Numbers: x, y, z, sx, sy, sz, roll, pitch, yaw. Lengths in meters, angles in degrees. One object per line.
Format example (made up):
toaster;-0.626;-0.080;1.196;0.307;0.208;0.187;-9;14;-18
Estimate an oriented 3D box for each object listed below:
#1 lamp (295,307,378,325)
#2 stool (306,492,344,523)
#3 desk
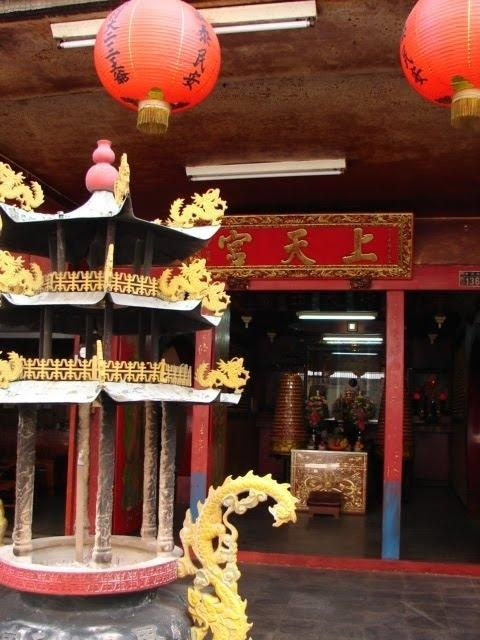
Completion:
lamp;1.436;-0.077;10.898;1.240;0.149;0.083;-2;10;0
stool;1.066;2.338;9.273;0.341;0.186;0.316;-1;-3;10
desk;1.522;2.182;9.954;1.606;0.772;1.494;-2;-11;14
